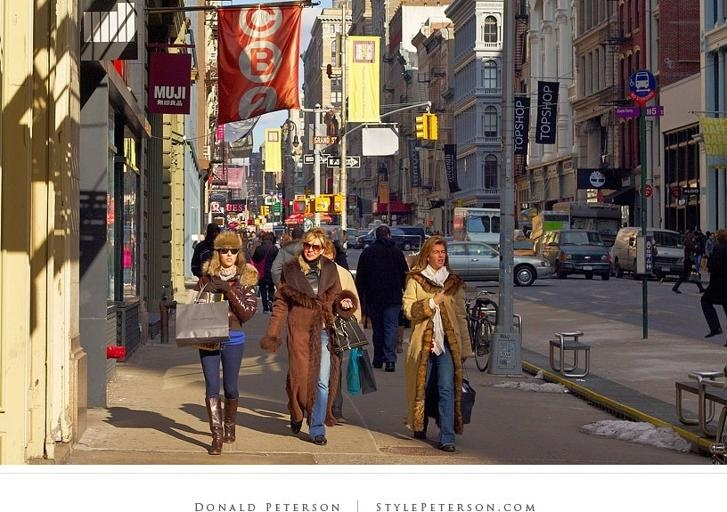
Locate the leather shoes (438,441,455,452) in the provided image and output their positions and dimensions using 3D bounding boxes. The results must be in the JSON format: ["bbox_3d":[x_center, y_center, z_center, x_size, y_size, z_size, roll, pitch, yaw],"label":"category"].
[{"bbox_3d":[0.988,2.189,13.830,0.211,0.127,0.238,0,5,3],"label":"leather shoes"}]

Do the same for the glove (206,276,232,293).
[{"bbox_3d":[-1.642,0.320,13.294,0.208,0.108,0.158,2,1,-36],"label":"glove"}]

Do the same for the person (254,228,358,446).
[{"bbox_3d":[-0.626,0.941,13.941,1.055,2.503,0.445,-1,4,-8],"label":"person"}]

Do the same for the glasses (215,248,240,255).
[{"bbox_3d":[-1.536,-0.050,13.363,0.242,0.082,0.091,-1,5,-9],"label":"glasses"}]

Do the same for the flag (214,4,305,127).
[{"bbox_3d":[-1.911,-3.431,21.439,1.522,2.041,0.794,-1,4,-3],"label":"flag"}]

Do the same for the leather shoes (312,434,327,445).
[{"bbox_3d":[-0.519,2.141,13.986,0.169,0.121,0.148,-1,5,-3],"label":"leather shoes"}]

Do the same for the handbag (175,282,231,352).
[{"bbox_3d":[-1.801,0.702,13.223,0.586,0.677,0.366,-1,4,-6],"label":"handbag"}]

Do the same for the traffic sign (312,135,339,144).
[{"bbox_3d":[-1.357,-4.092,41.985,0.739,0.256,2.162,-1,5,-5],"label":"traffic sign"}]

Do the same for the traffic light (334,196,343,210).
[{"bbox_3d":[-0.878,-1.889,42.607,0.332,0.635,0.816,0,5,0],"label":"traffic light"}]

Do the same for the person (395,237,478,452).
[{"bbox_3d":[0.877,0.999,13.905,0.792,2.461,0.528,0,4,4],"label":"person"}]

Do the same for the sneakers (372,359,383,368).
[{"bbox_3d":[0.246,1.746,19.354,0.131,0.108,0.135,2,5,21],"label":"sneakers"}]

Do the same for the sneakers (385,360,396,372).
[{"bbox_3d":[0.449,1.762,19.232,0.169,0.154,0.250,0,5,-1],"label":"sneakers"}]

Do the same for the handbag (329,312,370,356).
[{"bbox_3d":[-0.133,0.847,14.049,0.376,0.406,0.166,-19,16,17],"label":"handbag"}]

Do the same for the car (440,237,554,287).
[{"bbox_3d":[4.199,0.425,39.142,4.081,1.558,1.869,-1,3,-2],"label":"car"}]

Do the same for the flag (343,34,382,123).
[{"bbox_3d":[-0.006,-5.615,37.805,0.978,2.759,2.193,-1,4,-3],"label":"flag"}]

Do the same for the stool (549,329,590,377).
[{"bbox_3d":[3.339,1.567,19.291,0.409,0.587,1.154,-3,-6,26],"label":"stool"}]

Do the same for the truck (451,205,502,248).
[{"bbox_3d":[5.654,-1.357,57.975,2.732,1.806,2.940,2,3,1],"label":"truck"}]

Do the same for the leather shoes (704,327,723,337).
[{"bbox_3d":[6.732,1.436,22.419,0.419,0.193,0.148,-12,5,19],"label":"leather shoes"}]
